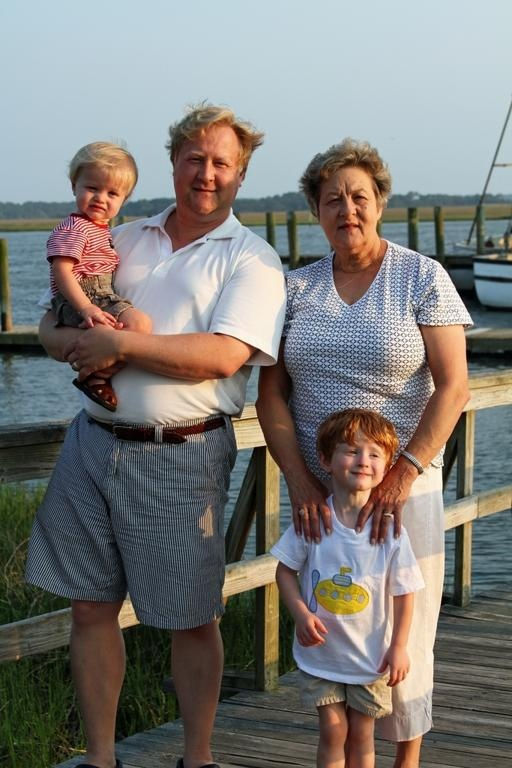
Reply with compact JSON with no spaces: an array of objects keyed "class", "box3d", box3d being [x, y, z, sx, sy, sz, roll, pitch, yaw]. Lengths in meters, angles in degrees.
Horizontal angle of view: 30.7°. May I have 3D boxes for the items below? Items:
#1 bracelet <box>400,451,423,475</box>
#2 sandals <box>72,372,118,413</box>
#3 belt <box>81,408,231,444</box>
[{"class":"bracelet","box3d":[0.428,0.214,2.540,0.027,0.064,0.065,-47,8,2]},{"class":"sandals","box3d":[-0.444,0.018,2.693,0.159,0.082,0.071,26,25,20]},{"class":"belt","box3d":[-0.231,0.135,2.681,0.341,0.066,0.102,-2,7,-20]}]
